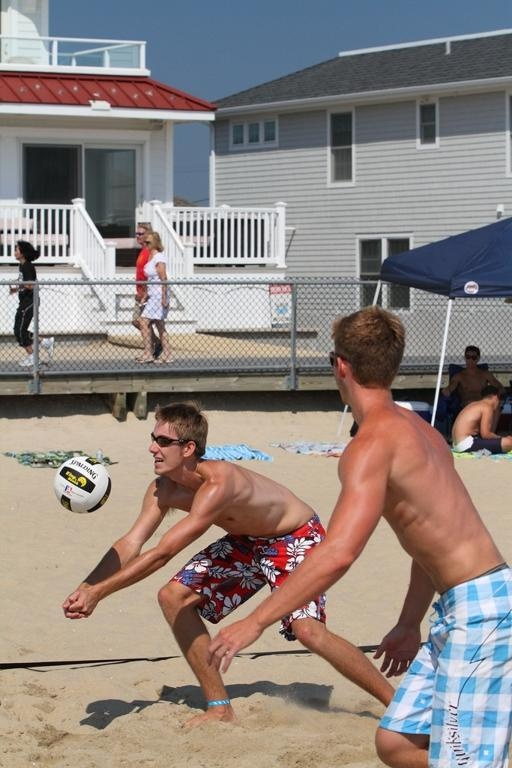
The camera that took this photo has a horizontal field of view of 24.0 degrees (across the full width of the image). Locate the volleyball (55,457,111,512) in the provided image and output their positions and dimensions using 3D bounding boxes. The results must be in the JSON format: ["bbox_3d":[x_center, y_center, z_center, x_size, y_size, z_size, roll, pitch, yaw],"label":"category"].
[{"bbox_3d":[-0.775,0.429,5.289,0.237,0.241,0.242,12,0,25],"label":"volleyball"}]

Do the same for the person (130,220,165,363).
[{"bbox_3d":[-1.200,-1.023,12.837,0.594,1.371,0.418,0,0,40],"label":"person"}]

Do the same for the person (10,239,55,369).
[{"bbox_3d":[-2.183,-0.766,11.829,0.542,1.224,0.351,3,0,-1],"label":"person"}]
